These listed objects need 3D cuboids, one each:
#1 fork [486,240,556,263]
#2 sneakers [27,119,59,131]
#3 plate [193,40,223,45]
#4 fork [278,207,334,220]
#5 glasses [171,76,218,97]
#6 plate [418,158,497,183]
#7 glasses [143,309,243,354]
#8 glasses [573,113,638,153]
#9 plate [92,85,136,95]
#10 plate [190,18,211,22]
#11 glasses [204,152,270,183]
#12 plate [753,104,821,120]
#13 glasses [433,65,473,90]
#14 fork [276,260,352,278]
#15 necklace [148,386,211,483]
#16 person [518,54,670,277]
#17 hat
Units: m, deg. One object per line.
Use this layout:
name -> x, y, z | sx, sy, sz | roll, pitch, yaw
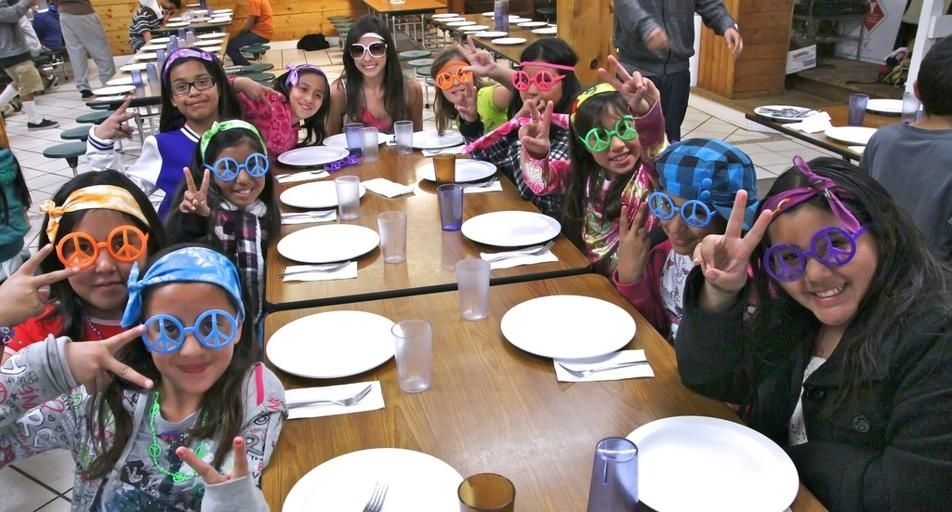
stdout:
fork -> 0.211, -0.020, 3.300 | 0.395, 0.054, 0.047 | -6, 60, -9
sneakers -> -5.323, -1.629, 8.259 | 0.437, 0.157, 0.162 | -5, 19, -22
plate -> -3.445, -2.695, 8.516 | 0.361, 0.043, 0.337 | 4, 24, 7
fork -> -0.908, -0.223, 3.706 | 0.353, 0.053, 0.092 | 1, 46, -6
glasses -> -1.739, -1.038, 4.102 | 0.242, 0.079, 0.059 | -14, 36, -10
plate -> -0.057, -0.520, 4.057 | 0.257, 0.028, 0.261 | 19, 32, 34
glasses -> -1.092, 0.290, 2.564 | 0.345, 0.164, 0.125 | -15, 36, -12
glasses -> 0.681, -0.613, 3.383 | 0.219, 0.072, 0.213 | -21, 4, -3
plate -> -3.436, -1.552, 6.298 | 0.311, 0.037, 0.293 | 5, 22, 12
plate -> -4.170, -3.565, 10.117 | 0.217, 0.032, 0.201 | 2, 22, 3
glasses -> -1.235, -0.451, 3.465 | 0.302, 0.143, 0.135 | -9, 35, -3
plate -> 2.009, -0.924, 4.344 | 0.282, 0.036, 0.268 | 10, 30, 18
glasses -> -0.161, -1.195, 4.519 | 0.253, 0.140, 0.188 | -3, 35, 6
fork -> -0.775, 0.065, 3.230 | 0.437, 0.060, 0.052 | -1, 69, 0
necklace -> -1.172, 0.694, 2.631 | 0.238, 0.345, 0.072 | 1, -7, 6
person -> 0.672, -0.328, 3.690 | 0.744, 1.456, 0.522 | -12, 41, 2
hat -> 0.949, -0.317, 2.853 | 0.428, 0.292, 0.414 | -27, 33, -36
